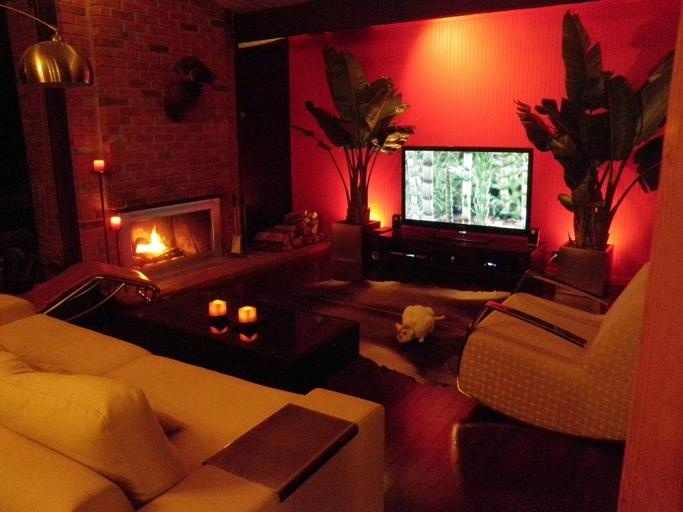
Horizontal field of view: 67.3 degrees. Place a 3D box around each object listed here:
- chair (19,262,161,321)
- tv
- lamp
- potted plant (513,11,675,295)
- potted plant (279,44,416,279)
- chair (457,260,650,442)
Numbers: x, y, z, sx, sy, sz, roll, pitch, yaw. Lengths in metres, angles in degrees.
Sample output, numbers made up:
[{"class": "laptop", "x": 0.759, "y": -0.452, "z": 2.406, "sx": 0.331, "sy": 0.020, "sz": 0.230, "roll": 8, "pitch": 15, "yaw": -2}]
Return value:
[{"class": "chair", "x": -1.662, "y": 0.267, "z": 3.567, "sx": 0.470, "sy": 0.263, "sz": 0.887, "roll": 17, "pitch": 26, "yaw": 35}, {"class": "tv", "x": 1.237, "y": -0.583, "z": 4.858, "sx": 0.935, "sy": 0.606, "sz": 0.045, "roll": 8, "pitch": 18, "yaw": 32}, {"class": "lamp", "x": -1.427, "y": -0.978, "z": 2.556, "sx": 0.327, "sy": 0.228, "sz": 0.158, "roll": -9, "pitch": 17, "yaw": -29}, {"class": "potted plant", "x": 1.985, "y": -0.781, "z": 4.104, "sx": 1.013, "sy": 2.135, "sz": 0.978, "roll": 8, "pitch": 17, "yaw": 28}, {"class": "potted plant", "x": 0.106, "y": -1.032, "z": 5.362, "sx": 1.052, "sy": 2.169, "sz": 1.075, "roll": -4, "pitch": 15, "yaw": -12}, {"class": "chair", "x": 1.110, "y": 0.382, "z": 2.696, "sx": 0.763, "sy": 0.697, "sz": 0.816, "roll": 8, "pitch": 17, "yaw": 29}]
